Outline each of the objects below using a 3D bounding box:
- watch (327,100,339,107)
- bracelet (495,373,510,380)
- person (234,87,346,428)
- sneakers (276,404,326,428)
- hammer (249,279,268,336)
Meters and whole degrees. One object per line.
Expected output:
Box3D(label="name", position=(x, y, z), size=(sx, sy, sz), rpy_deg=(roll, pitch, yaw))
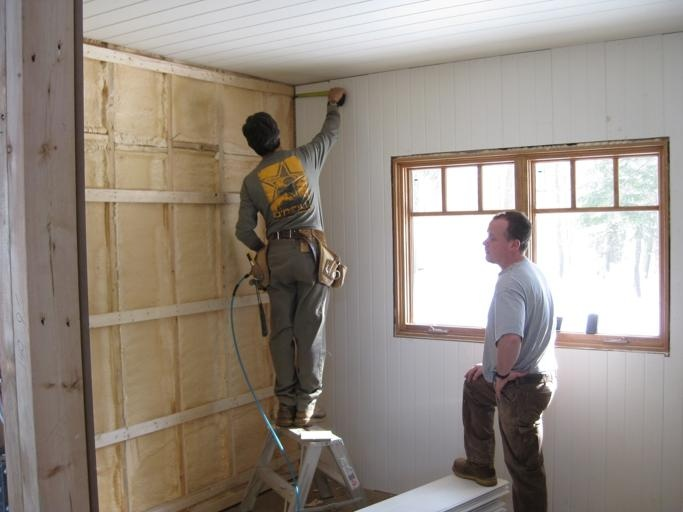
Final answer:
Box3D(label="watch", position=(-0.072, -1.166, 4.470), size=(0.100, 0.054, 0.087), rpy_deg=(3, 8, 25))
Box3D(label="bracelet", position=(0.992, 0.752, 3.621), size=(0.054, 0.027, 0.043), rpy_deg=(-18, -22, 37))
Box3D(label="person", position=(-0.367, 0.073, 4.198), size=(0.767, 2.300, 0.428), rpy_deg=(-1, 6, -10))
Box3D(label="sneakers", position=(-0.295, 1.165, 4.222), size=(0.275, 0.124, 0.143), rpy_deg=(-1, 2, -33))
Box3D(label="hammer", position=(-0.652, 0.403, 4.535), size=(0.089, 0.463, 0.151), rpy_deg=(-12, 12, -33))
